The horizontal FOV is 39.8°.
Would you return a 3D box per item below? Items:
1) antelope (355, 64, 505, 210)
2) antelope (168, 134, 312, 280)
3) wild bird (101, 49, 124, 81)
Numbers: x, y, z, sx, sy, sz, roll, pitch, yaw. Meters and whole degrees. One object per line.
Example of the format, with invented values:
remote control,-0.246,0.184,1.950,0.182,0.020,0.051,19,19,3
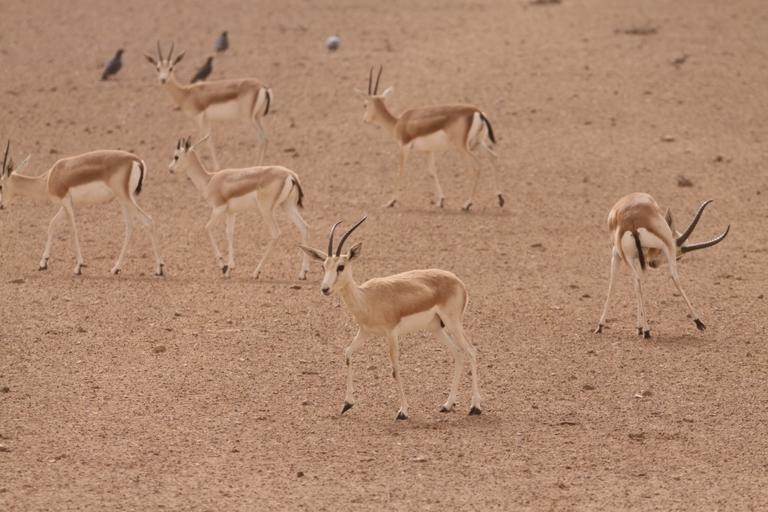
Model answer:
antelope,0.900,-2.088,19.109,2.459,2.227,2.467,-3,45,-7
antelope,-2.353,-0.842,17.430,2.829,2.247,0.866,1,4,31
wild bird,-6.108,-4.324,23.850,0.663,0.354,0.713,-36,38,12
